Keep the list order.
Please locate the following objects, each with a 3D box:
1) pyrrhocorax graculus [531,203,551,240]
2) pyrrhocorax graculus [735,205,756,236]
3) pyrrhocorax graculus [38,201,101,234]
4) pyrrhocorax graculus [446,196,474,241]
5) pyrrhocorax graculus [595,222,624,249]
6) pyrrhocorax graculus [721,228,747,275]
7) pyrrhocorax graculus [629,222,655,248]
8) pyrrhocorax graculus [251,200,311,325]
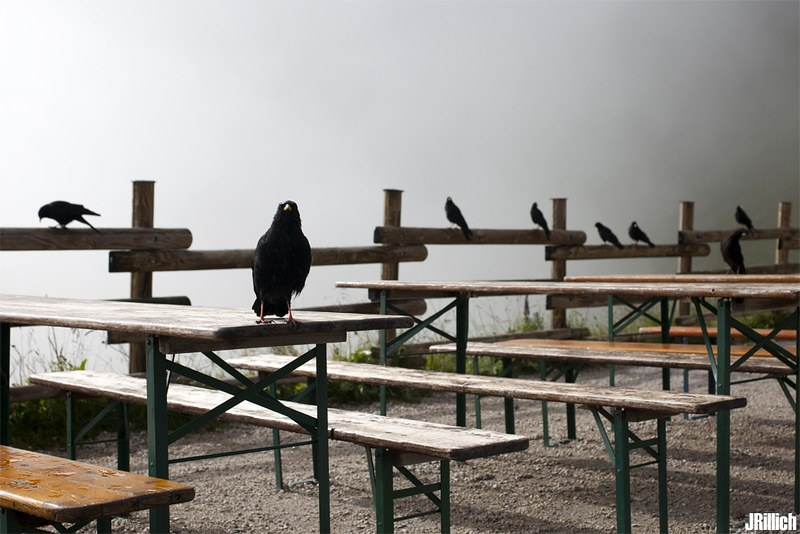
[{"bbox_3d":[2.355,-0.791,16.564,0.285,0.591,0.529,-2,-6,12],"label":"pyrrhocorax graculus"},{"bbox_3d":[6.693,-0.968,19.224,0.313,0.465,0.921,-3,-7,21],"label":"pyrrhocorax graculus"},{"bbox_3d":[-3.955,-0.660,11.818,0.645,0.378,0.856,2,-7,-20],"label":"pyrrhocorax graculus"},{"bbox_3d":[0.935,-0.813,15.560,0.427,0.715,0.889,-1,-6,3],"label":"pyrrhocorax graculus"},{"bbox_3d":[3.699,-0.581,17.643,0.338,0.442,0.714,-4,-7,29],"label":"pyrrhocorax graculus"},{"bbox_3d":[4.300,-0.216,12.760,0.278,0.609,0.554,-3,-6,19],"label":"pyrrhocorax graculus"},{"bbox_3d":[4.269,-0.609,17.606,0.380,0.467,1.225,-2,-7,15],"label":"pyrrhocorax graculus"},{"bbox_3d":[-1.101,-0.047,9.237,0.511,1.114,0.332,0,-6,-9],"label":"pyrrhocorax graculus"}]
